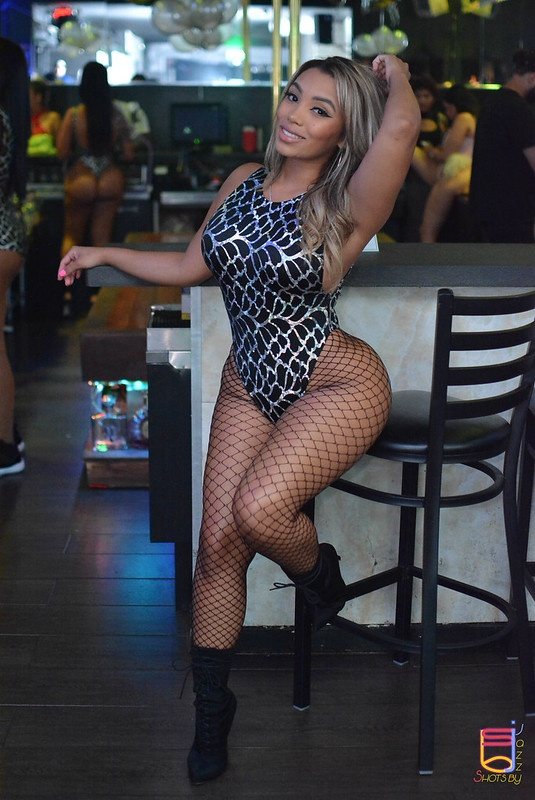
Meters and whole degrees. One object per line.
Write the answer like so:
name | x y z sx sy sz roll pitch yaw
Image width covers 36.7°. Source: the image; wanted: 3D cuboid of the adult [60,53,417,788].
adult | 0.050 0.032 1.531 0.382 1.329 0.410 1 13 -3

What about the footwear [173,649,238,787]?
footwear | -0.118 0.601 1.534 0.088 0.236 0.255 -7 3 12

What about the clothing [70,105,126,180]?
clothing | -1.051 -1.629 5.189 0.437 0.543 0.317 -1 -2 2

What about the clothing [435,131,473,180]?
clothing | 0.844 -1.077 3.594 0.065 0.151 0.084 7 15 -43

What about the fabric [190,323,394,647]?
fabric | 0.010 0.154 1.555 0.357 0.621 0.293 13 7 18

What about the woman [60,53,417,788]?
woman | 0.050 0.032 1.531 0.382 1.329 0.411 1 13 -3
